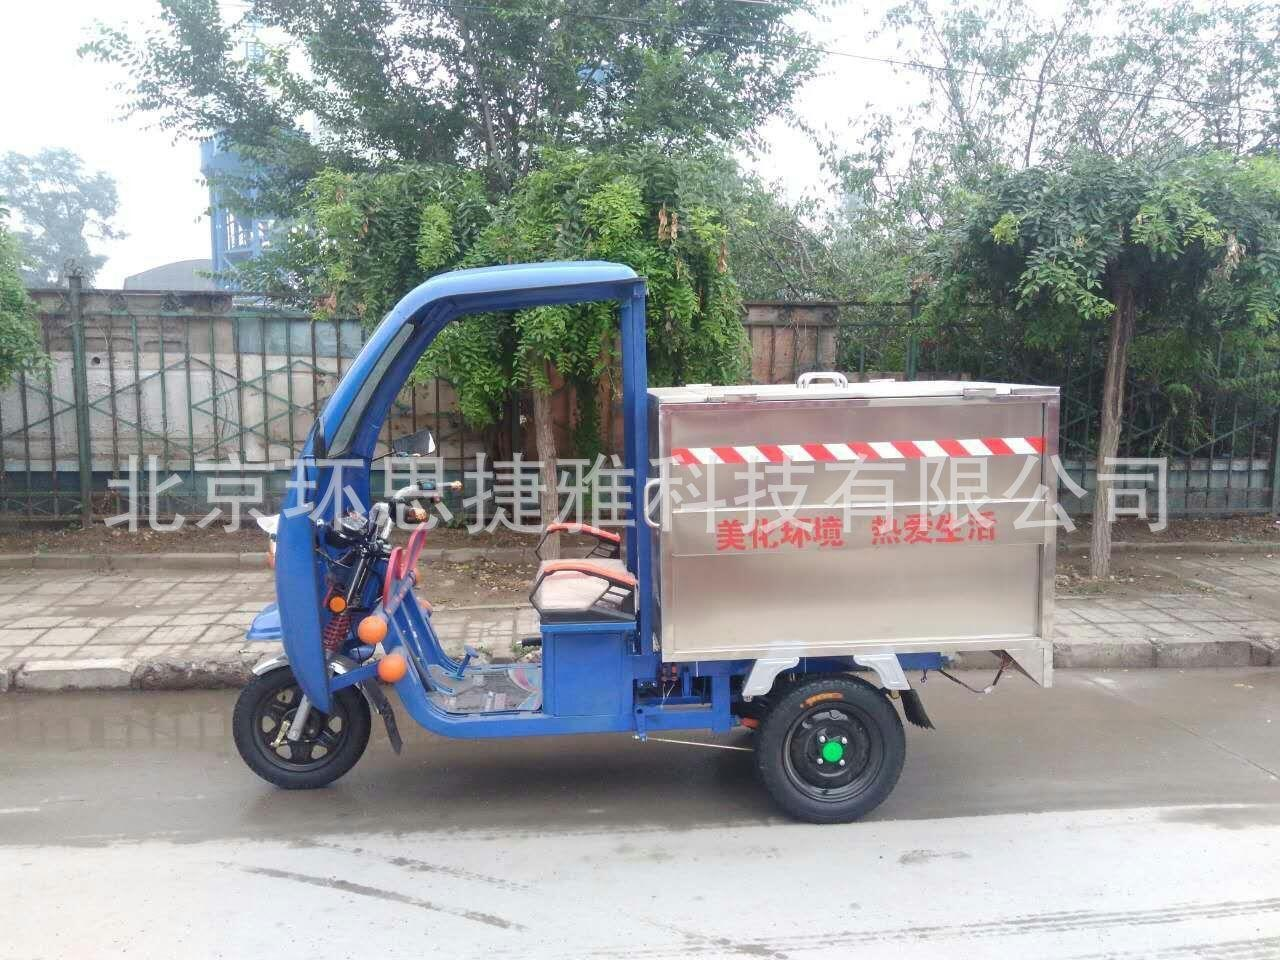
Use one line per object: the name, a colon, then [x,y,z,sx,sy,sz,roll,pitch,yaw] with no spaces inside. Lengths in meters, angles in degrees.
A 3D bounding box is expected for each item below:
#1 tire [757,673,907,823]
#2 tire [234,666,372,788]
tire: [1.275,1.827,8.895,0.938,0.990,0.342,-2,4,-3]
tire: [-2.358,1.744,9.173,0.846,0.899,0.169,1,1,2]
